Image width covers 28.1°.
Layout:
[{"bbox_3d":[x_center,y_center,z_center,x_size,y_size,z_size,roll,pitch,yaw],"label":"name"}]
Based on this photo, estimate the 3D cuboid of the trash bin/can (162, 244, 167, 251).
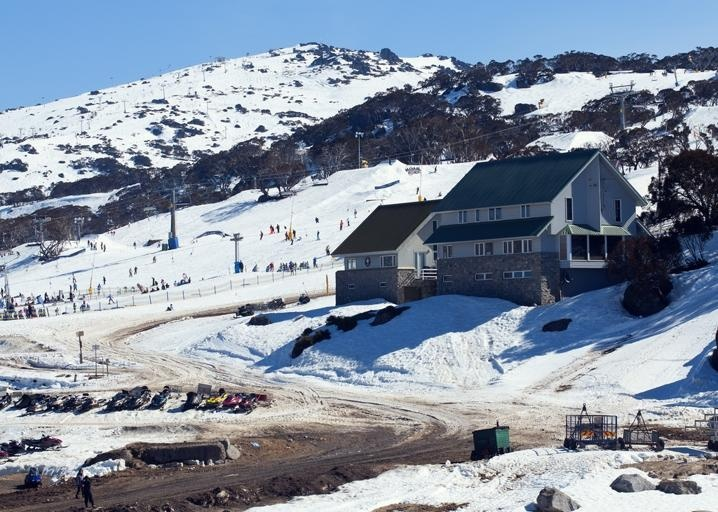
[{"bbox_3d":[-31.868,-1.619,235.611,1.135,1.015,0.616,-5,-12,32],"label":"trash bin/can"}]
